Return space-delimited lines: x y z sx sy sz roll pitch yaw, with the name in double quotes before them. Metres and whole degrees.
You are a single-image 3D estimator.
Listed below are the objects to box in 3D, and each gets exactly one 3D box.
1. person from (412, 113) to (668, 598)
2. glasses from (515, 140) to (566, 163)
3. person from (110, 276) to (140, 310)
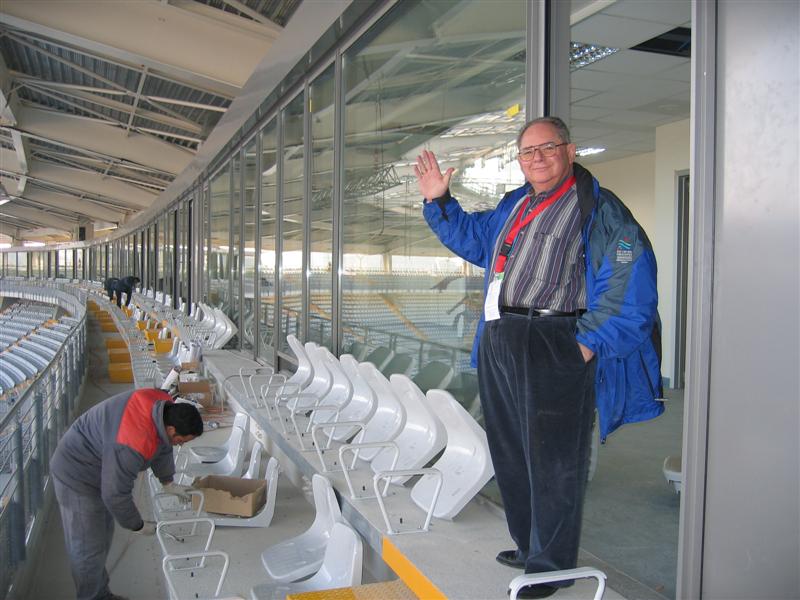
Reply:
"person" 0.549 0.228 2.270 0.466 1.824 0.853 -8 5 -41
"glasses" 0.525 -0.547 2.149 0.169 0.059 0.043 -5 4 13
"person" -10.104 -0.294 21.156 0.790 1.435 3.122 -1 -3 -26
